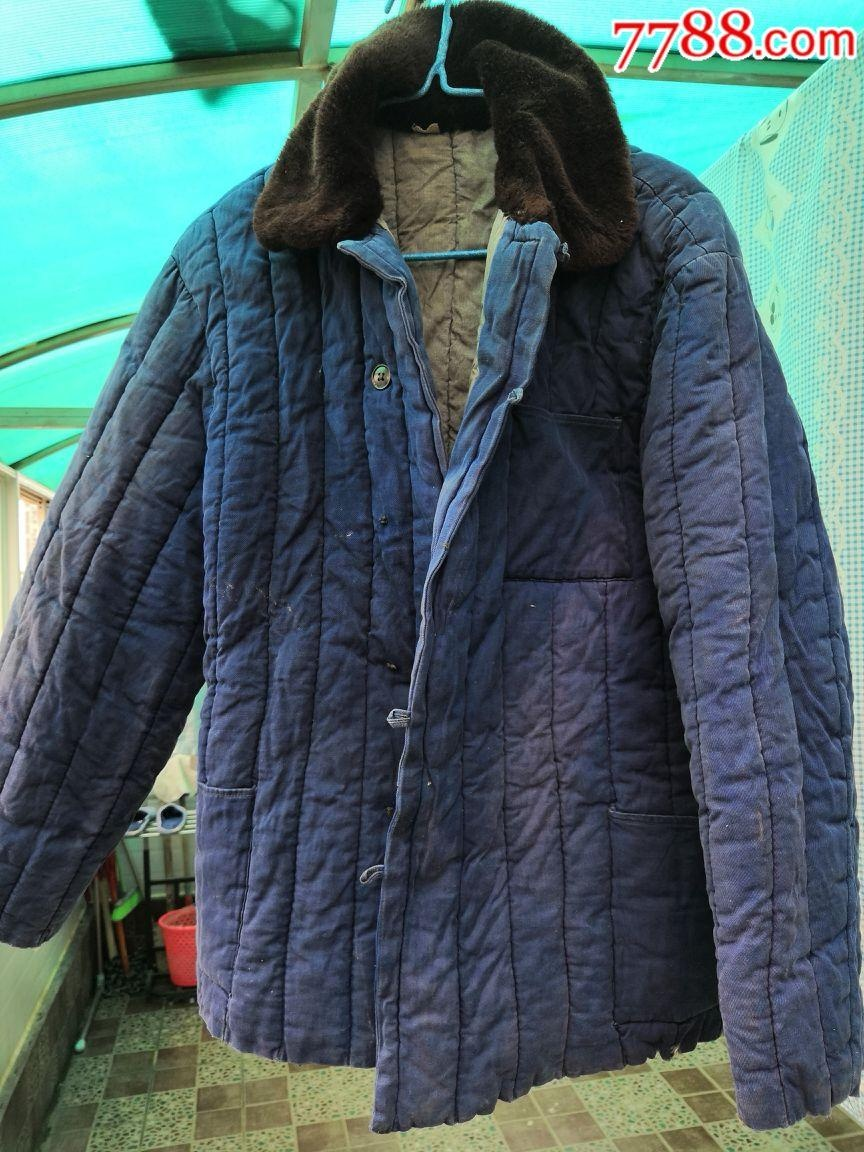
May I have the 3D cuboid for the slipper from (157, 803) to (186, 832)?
[{"bbox_3d":[-1.141,1.057,5.186,0.130,0.123,0.050,-1,-25,7],"label":"slipper"}]
